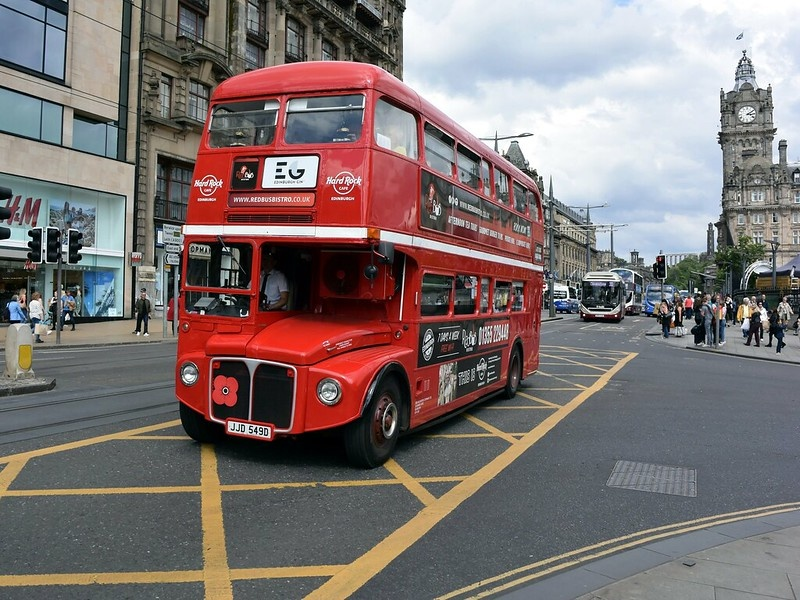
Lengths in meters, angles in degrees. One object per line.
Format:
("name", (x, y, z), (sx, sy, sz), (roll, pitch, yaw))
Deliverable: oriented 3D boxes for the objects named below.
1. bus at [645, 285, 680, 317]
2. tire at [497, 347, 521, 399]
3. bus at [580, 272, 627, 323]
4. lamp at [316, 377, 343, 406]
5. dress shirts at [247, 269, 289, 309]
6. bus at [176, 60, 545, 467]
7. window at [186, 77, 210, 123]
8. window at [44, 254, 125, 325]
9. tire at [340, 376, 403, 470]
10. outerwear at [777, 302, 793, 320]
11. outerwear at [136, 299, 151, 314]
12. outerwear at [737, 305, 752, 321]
("bus", (18.364, 0.025, 48.503), (2.076, 2.948, 6.213), (-1, -3, 28))
("tire", (2.031, 1.327, 12.950), (0.308, 1.062, 0.974), (3, -14, 24))
("bus", (12.860, -0.164, 43.604), (2.652, 3.369, 7.887), (0, -1, 21))
("lamp", (-0.791, 1.027, 7.712), (0.248, 0.313, 0.113), (4, 1, 12))
("dress shirts", (-1.614, -0.102, 8.666), (0.579, 0.728, 0.361), (2, -3, -21))
("bus", (-0.599, -0.243, 8.920), (2.080, 3.316, 5.705), (1, 0, 26))
("window", (-10.134, -10.077, 34.313), (0.120, 1.572, 1.883), (5, 12, -43))
("window", (-13.589, -0.407, 29.661), (3.143, 2.678, 0.141), (-1, 0, 4))
("tire", (-0.366, 1.436, 8.108), (0.266, 0.864, 0.880), (0, -19, 24))
("outerwear", (14.948, 0.390, 26.660), (0.356, 1.116, 0.515), (3, 23, 40))
("outerwear", (-9.280, 0.194, 24.685), (0.290, 0.626, 0.525), (-3, 0, 39))
("outerwear", (13.963, 0.481, 27.752), (0.673, 0.784, 0.411), (1, -2, 2))
